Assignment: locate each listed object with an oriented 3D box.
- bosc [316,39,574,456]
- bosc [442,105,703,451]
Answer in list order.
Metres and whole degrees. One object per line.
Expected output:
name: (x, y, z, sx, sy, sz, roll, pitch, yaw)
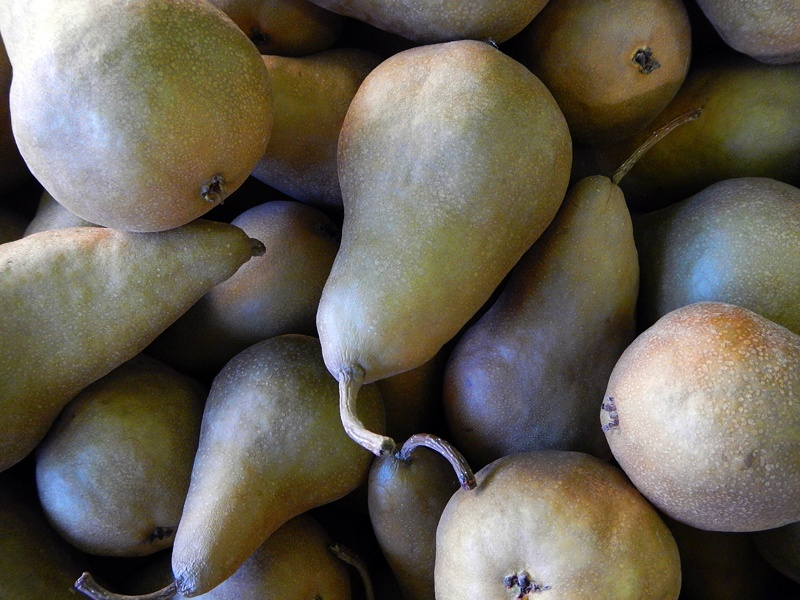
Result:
bosc: (0.060, -0.077, 1.129, 0.218, 0.201, 0.468, 19, 86, 27)
bosc: (0.181, -0.011, 1.069, 0.170, 0.188, 0.446, 23, 91, -14)
